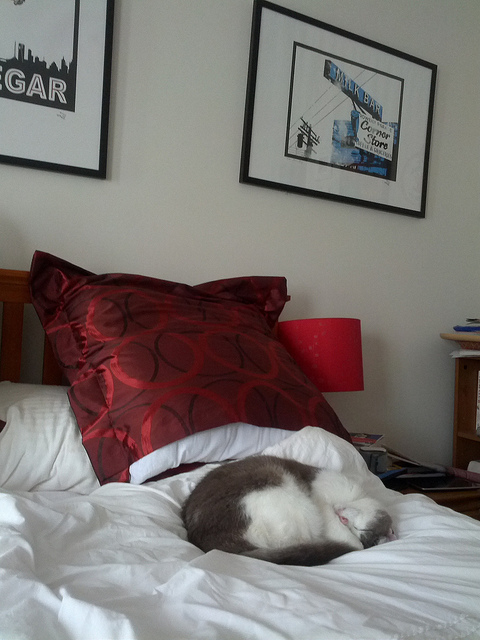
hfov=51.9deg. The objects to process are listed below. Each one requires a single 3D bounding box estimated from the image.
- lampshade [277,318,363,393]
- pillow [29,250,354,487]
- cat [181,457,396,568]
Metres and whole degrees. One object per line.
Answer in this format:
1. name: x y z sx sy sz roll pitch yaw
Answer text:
1. lampshade: 0.261 0.106 1.659 0.239 0.185 0.237 0 -4 -37
2. pillow: -0.141 0.084 1.195 0.606 0.165 0.632 -5 43 -44
3. cat: 0.032 0.236 0.690 0.141 0.070 0.188 5 -10 -37
